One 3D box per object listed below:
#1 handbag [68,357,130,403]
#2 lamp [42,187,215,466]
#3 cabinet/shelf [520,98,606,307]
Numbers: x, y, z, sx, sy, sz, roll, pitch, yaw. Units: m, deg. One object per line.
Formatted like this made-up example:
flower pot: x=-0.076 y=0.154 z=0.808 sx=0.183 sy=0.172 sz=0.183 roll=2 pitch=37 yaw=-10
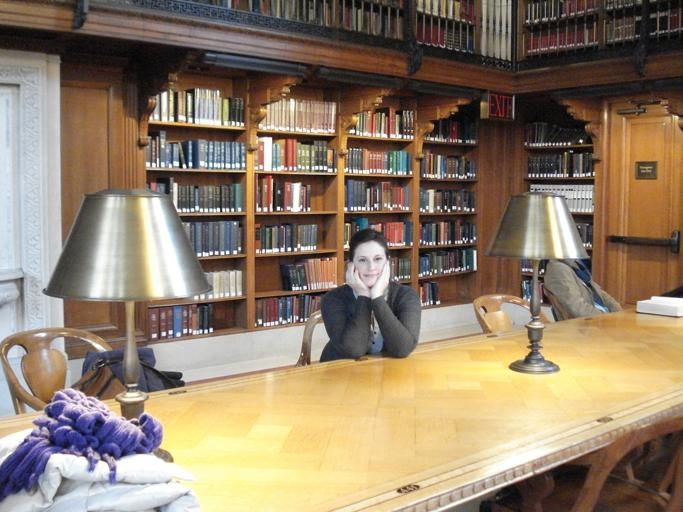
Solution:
handbag: x=-1.121 y=0.591 z=2.867 sx=0.298 sy=0.108 sz=0.229 roll=-6 pitch=5 yaw=-19
lamp: x=-0.654 y=0.210 z=1.886 sx=0.481 sy=0.774 sz=0.483 roll=-2 pitch=0 yaw=28
cabinet/shelf: x=2.692 y=-0.992 z=7.469 sx=0.858 sy=2.157 sz=0.245 roll=3 pitch=-31 yaw=15
